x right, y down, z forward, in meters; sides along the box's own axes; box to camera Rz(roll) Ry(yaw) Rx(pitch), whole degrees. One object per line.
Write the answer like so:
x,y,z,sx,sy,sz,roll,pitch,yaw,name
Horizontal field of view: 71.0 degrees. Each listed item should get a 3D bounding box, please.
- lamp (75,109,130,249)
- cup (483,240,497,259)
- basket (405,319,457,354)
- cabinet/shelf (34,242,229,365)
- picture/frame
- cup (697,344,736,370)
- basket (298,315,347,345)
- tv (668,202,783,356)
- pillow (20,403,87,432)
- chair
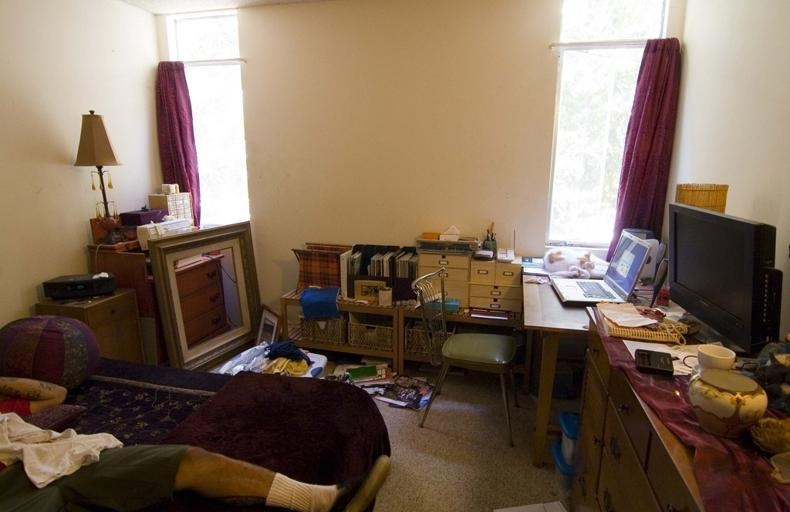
-2.543,-0.688,4.771,0.321,1.097,0.378,-9,19,-29,lamp
0.847,-0.063,4.915,0.144,0.252,0.153,1,4,0,cup
0.203,0.719,4.979,0.329,0.205,0.328,0,14,3,basket
-2.338,0.333,4.796,0.750,0.953,1.038,1,10,10,cabinet/shelf
-1.687,0.375,5.051,0.095,1.187,1.058,8,24,28,picture/frame
1.711,0.535,2.953,0.145,0.115,0.157,1,9,0,cup
-0.645,0.680,5.039,0.410,0.263,0.260,1,5,16,basket
1.921,0.152,3.220,0.228,0.622,0.701,-11,24,-3,tv
-2.155,1.027,3.544,0.190,0.056,0.178,11,15,5,pillow
0.569,0.675,4.499,0.839,1.191,1.001,4,17,9,chair
